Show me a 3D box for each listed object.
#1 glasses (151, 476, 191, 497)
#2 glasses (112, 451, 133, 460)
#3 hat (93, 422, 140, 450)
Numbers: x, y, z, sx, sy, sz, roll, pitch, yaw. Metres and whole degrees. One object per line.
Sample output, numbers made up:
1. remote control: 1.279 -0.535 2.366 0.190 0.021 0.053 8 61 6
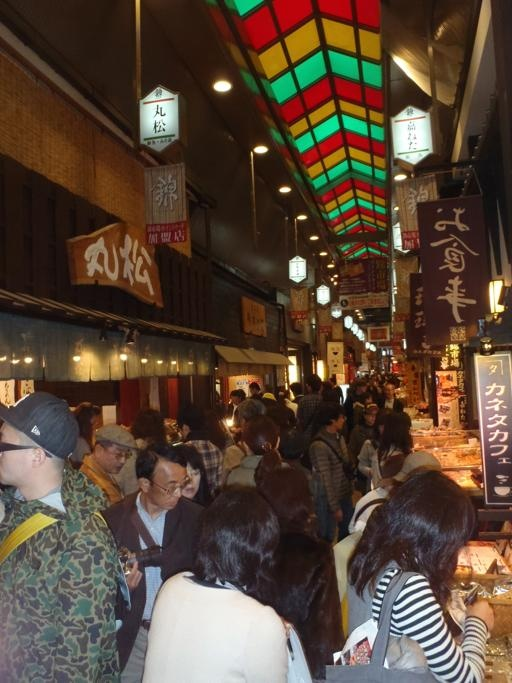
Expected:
1. glasses: -0.439 0.707 2.696 0.116 0.039 0.121 -11 -8 43
2. glasses: -0.927 0.780 3.820 0.115 0.039 0.116 -2 -7 15
3. hat: -0.958 0.642 3.782 0.214 0.095 0.185 10 -3 -9
